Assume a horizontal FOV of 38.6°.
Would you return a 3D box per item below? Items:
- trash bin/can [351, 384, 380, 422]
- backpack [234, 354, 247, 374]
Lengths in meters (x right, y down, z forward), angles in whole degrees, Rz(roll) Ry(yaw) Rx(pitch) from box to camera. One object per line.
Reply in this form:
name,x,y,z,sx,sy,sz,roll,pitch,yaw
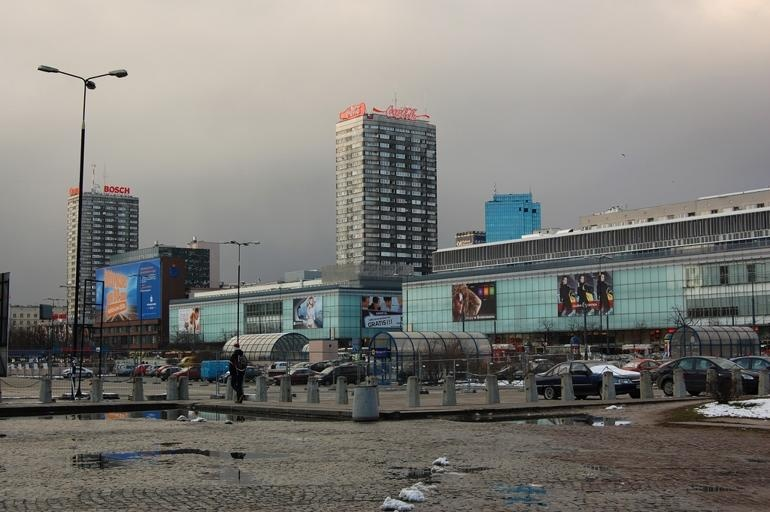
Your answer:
trash bin/can,-0.701,5.421,40.274,1.045,1.379,0.852,1,-11,-17
backpack,-6.243,4.667,47.370,0.406,0.759,0.662,1,-11,-16
